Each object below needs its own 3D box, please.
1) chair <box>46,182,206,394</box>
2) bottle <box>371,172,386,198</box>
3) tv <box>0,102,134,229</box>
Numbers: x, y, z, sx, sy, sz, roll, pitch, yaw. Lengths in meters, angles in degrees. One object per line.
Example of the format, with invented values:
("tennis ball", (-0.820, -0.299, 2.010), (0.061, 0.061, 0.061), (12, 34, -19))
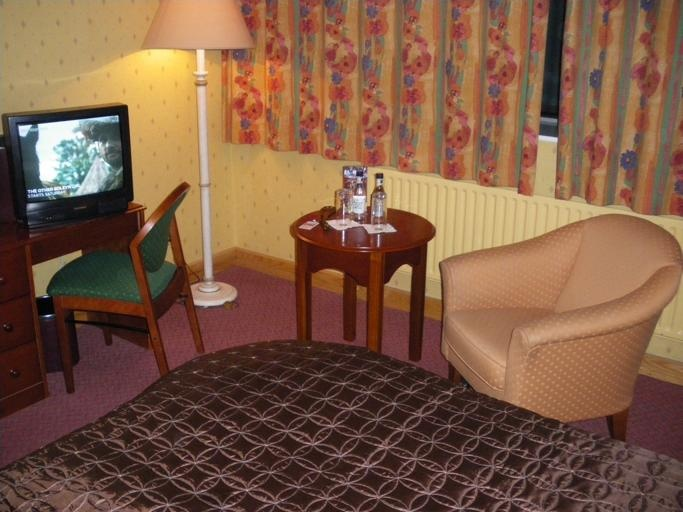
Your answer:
("chair", (-1.237, 0.144, 3.180), (0.842, 1.099, 0.770), (11, 21, 21))
("bottle", (0.209, -0.409, 3.077), (0.072, 0.147, 0.198), (1, 16, 5))
("tv", (-1.517, -0.490, 2.985), (0.580, 0.557, 0.292), (-18, 32, -41))
